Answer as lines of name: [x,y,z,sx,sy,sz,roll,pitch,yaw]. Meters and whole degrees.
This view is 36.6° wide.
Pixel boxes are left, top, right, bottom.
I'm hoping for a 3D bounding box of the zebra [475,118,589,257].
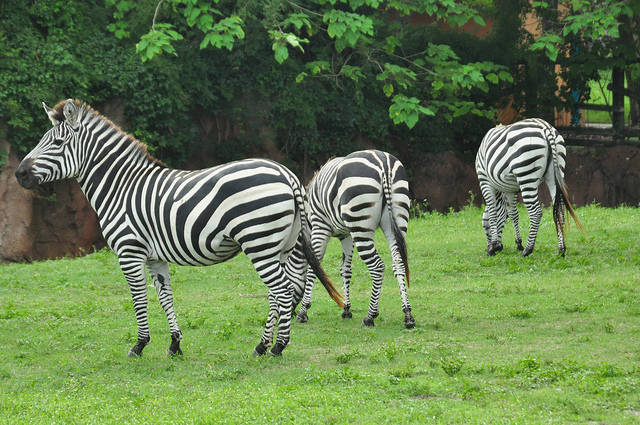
zebra: [5.614,-0.624,26.520,1.335,3.752,2.400,-3,-1,-38]
